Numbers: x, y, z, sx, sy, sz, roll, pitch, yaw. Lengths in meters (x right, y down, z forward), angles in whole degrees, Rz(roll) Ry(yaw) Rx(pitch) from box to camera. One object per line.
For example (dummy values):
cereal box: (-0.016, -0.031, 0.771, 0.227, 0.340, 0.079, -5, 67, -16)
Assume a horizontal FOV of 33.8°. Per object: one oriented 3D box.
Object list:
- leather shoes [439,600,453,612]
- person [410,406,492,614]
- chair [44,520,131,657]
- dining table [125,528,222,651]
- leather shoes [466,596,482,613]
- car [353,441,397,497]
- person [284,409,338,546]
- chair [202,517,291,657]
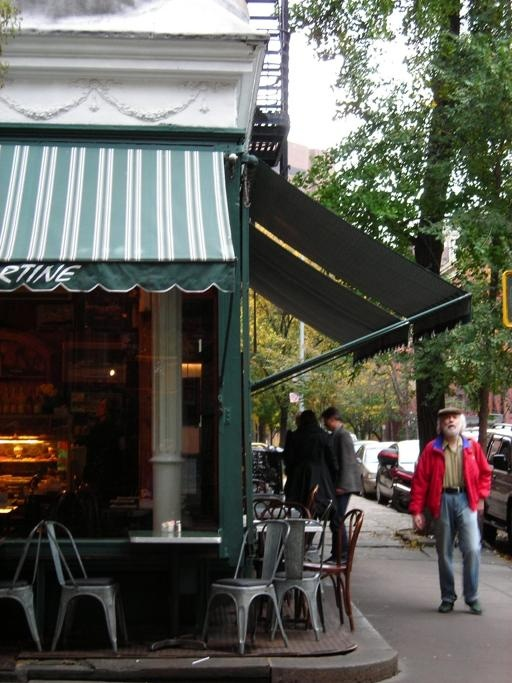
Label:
leather shoes: (1.861, 2.588, 8.270, 0.143, 0.100, 0.297, 3, -3, 16)
person: (1.888, 1.640, 8.244, 0.750, 1.985, 0.471, 2, -2, 17)
chair: (-1.275, 1.800, 6.325, 0.479, 0.984, 0.523, -3, -4, 7)
dining table: (-0.636, 1.940, 6.599, 0.696, 0.901, 0.776, 1, -8, -5)
leather shoes: (2.097, 2.546, 8.097, 0.064, 0.084, 0.169, 1, -11, -6)
car: (3.550, 3.649, 25.688, 0.787, 1.006, 2.083, -6, 10, -2)
person: (0.644, 1.387, 9.634, 0.503, 1.533, 0.589, 6, 29, 16)
chair: (-0.058, 1.842, 6.449, 0.517, 1.011, 0.530, 7, -11, -27)
